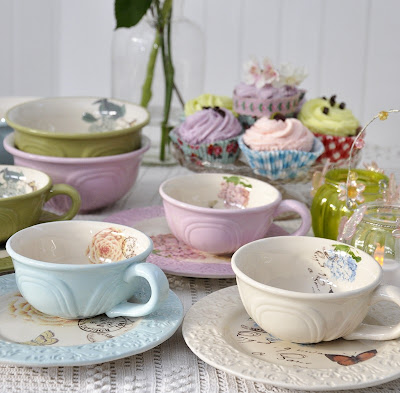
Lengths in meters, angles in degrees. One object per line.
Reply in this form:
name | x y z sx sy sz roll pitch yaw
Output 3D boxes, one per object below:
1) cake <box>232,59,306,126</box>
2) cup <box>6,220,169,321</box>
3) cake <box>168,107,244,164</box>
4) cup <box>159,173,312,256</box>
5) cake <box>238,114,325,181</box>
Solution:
cake | 0.099 -0.186 0.775 0.145 0.111 0.121 3 21 7
cup | -0.119 0.071 0.427 0.148 0.046 0.116 11 12 26
cake | 0.016 -0.101 0.729 0.130 0.077 0.110 0 13 7
cup | 0.040 0.015 0.574 0.187 0.059 0.133 6 7 8
cake | 0.125 -0.077 0.654 0.133 0.062 0.107 0 15 1
